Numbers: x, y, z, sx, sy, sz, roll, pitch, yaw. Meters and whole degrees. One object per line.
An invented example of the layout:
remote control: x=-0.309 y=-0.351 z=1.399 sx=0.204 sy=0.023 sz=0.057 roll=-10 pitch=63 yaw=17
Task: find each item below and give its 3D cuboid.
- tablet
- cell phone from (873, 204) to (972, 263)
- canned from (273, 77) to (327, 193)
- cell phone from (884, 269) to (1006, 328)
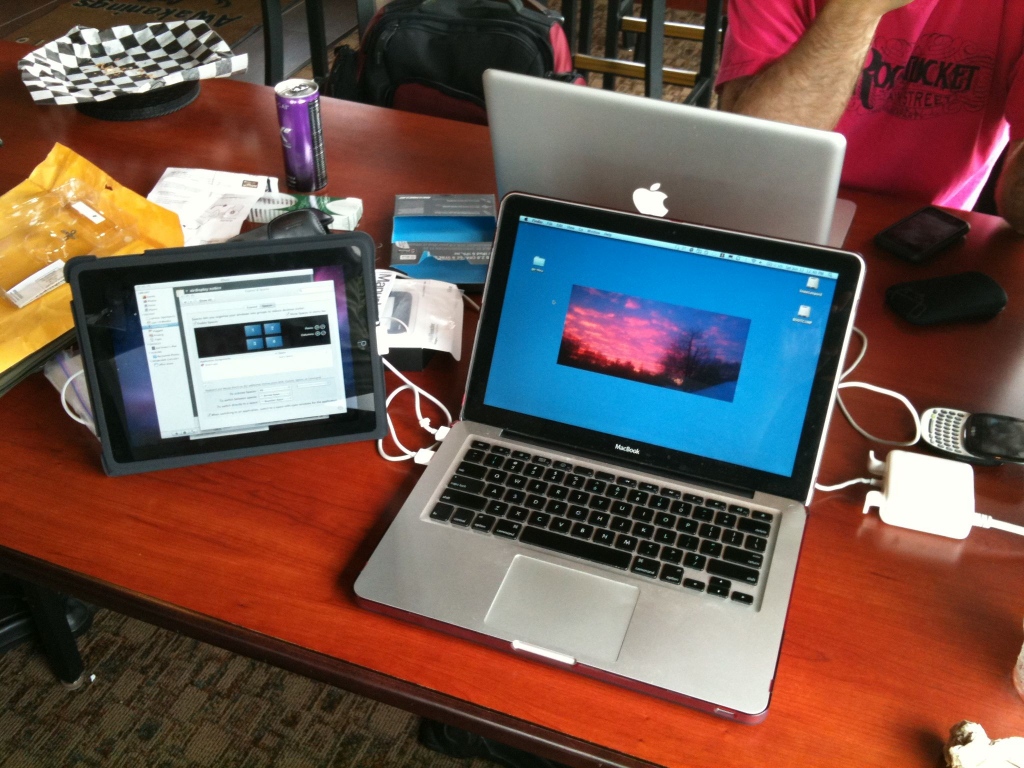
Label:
tablet: x=-0.387 y=-0.060 z=1.098 sx=0.494 sy=0.311 sz=0.095 roll=-6 pitch=12 yaw=-8
cell phone: x=0.704 y=-0.256 z=1.401 sx=0.149 sy=0.024 sz=0.088 roll=-28 pitch=49 yaw=-19
canned: x=-0.404 y=-0.470 z=1.572 sx=0.083 sy=0.186 sz=0.083 roll=-28 pitch=47 yaw=-36
cell phone: x=0.688 y=-0.137 z=1.311 sx=0.156 sy=0.040 sz=0.090 roll=-7 pitch=51 yaw=6
